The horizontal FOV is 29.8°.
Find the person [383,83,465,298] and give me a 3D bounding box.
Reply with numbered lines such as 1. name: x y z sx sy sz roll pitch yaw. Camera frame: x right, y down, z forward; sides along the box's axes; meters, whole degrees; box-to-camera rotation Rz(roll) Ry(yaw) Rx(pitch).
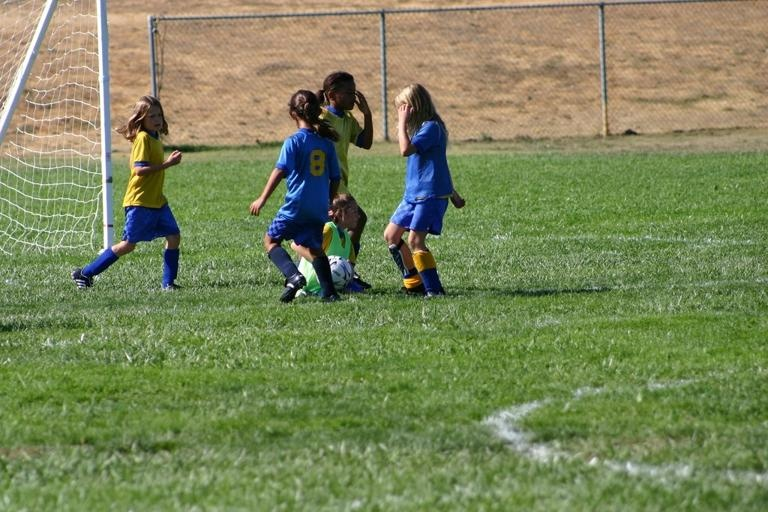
1. person: 0.523 -0.963 20.993 0.964 3.010 0.531 -3 9 -1

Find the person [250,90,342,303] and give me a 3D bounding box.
1. person: -1.184 -0.882 20.855 1.174 2.970 0.664 -3 9 -2

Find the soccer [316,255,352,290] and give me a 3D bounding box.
1. soccer: -0.725 0.218 21.248 0.482 0.439 0.433 -14 -14 -8
